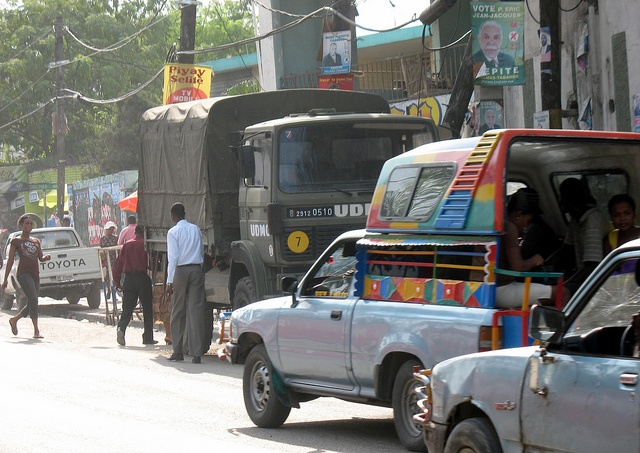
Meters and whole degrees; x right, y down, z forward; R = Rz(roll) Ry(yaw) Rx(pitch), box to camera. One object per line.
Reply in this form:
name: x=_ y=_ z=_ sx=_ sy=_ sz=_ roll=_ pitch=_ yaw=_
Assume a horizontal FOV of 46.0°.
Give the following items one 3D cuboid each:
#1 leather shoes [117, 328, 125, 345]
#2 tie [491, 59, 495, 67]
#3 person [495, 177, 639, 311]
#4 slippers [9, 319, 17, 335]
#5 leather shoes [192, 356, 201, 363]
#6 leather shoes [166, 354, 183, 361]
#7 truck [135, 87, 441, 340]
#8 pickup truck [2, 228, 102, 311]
leather shoes: x=-4.001 y=2.227 z=15.136 sx=0.148 sy=0.345 sz=0.140 roll=-7 pitch=12 yaw=0
tie: x=3.065 y=-2.898 z=13.313 sx=0.074 sy=0.112 sz=0.028 roll=-1 pitch=-1 yaw=9
person: x=2.187 y=0.127 z=7.323 sx=0.867 sy=1.307 sz=2.043 roll=2 pitch=7 yaw=45
slippers: x=-6.770 y=2.219 z=16.605 sx=0.102 sy=0.360 sz=0.137 roll=-12 pitch=2 yaw=11
leather shoes: x=-2.136 y=2.298 z=13.002 sx=0.115 sy=0.089 sz=0.116 roll=-7 pitch=-15 yaw=33
leather shoes: x=-2.546 y=2.281 z=13.178 sx=0.273 sy=0.124 sz=0.110 roll=4 pitch=-3 yaw=-5
truck: x=-0.834 y=-0.561 z=14.279 sx=3.004 sy=3.787 sz=6.202 roll=0 pitch=-4 yaw=-29
pickup truck: x=-7.365 y=1.245 z=21.601 sx=2.143 sy=1.921 sz=4.132 roll=0 pitch=0 yaw=-24
